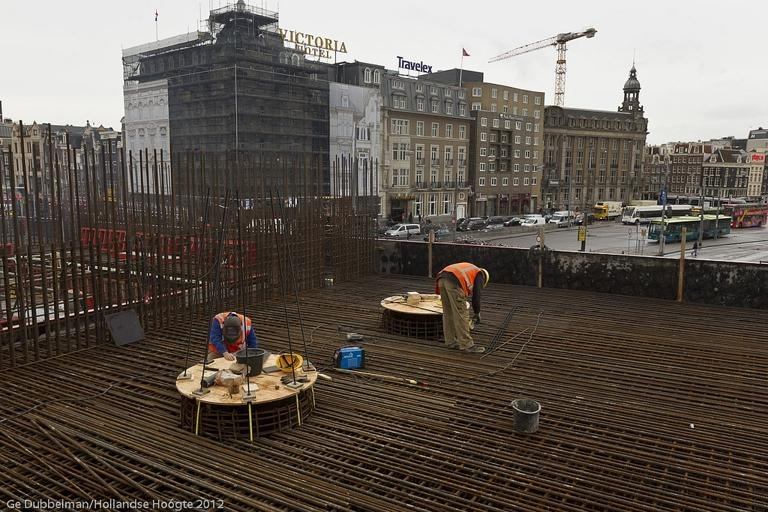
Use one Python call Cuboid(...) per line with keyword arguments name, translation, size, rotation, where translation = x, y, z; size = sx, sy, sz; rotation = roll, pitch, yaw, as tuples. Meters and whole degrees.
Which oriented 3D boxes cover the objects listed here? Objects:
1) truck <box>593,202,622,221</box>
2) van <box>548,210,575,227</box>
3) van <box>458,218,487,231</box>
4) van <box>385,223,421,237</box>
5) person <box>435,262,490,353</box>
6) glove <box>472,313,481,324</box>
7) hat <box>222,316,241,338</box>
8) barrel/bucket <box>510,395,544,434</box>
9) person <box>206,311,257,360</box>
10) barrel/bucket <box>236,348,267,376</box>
Cuboid(name="truck", translation=(25.426, -4.975, 77.075), size=(5.168, 2.567, 1.911), rotation=(-7, 7, -42))
Cuboid(name="van", translation=(17.152, -3.406, 65.010), size=(2.947, 1.519, 1.421), rotation=(-2, 4, -39))
Cuboid(name="van", translation=(7.600, -2.608, 58.059), size=(2.294, 0.972, 1.104), rotation=(-5, 8, -36))
Cuboid(name="van", translation=(1.297, -1.772, 48.654), size=(1.016, 0.868, 2.576), rotation=(4, 4, 44))
Cuboid(name="person", translation=(1.481, 1.012, 12.841), size=(0.896, 1.613, 0.641), rotation=(-3, 8, -8))
Cuboid(name="glove", translation=(1.837, 1.295, 13.456), size=(0.148, 0.205, 0.488), rotation=(-1, -12, 8))
Cuboid(name="hat", translation=(-2.448, 1.180, 10.790), size=(0.270, 0.356, 0.356), rotation=(0, 0, -15))
Cuboid(name="barrel/bucket", translation=(2.131, 2.417, 10.161), size=(0.403, 0.342, 0.472), rotation=(-1, 5, -1))
Cuboid(name="person", translation=(-2.541, 1.352, 11.054), size=(0.656, 0.837, 0.770), rotation=(7, 32, 8))
Cuboid(name="barrel/bucket", translation=(-2.050, 1.660, 10.453), size=(0.407, 0.304, 0.427), rotation=(0, 0, 0))
